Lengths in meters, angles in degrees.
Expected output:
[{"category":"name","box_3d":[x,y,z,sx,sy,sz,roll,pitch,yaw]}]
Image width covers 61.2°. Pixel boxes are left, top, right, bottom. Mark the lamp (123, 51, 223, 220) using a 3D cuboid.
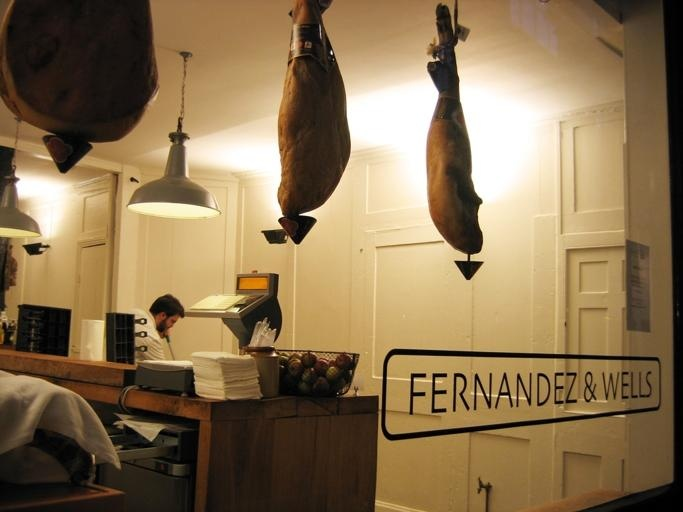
[{"category":"lamp","box_3d":[-0.996,-0.602,3.480,0.442,1.113,0.488,0,-2,37]}]
